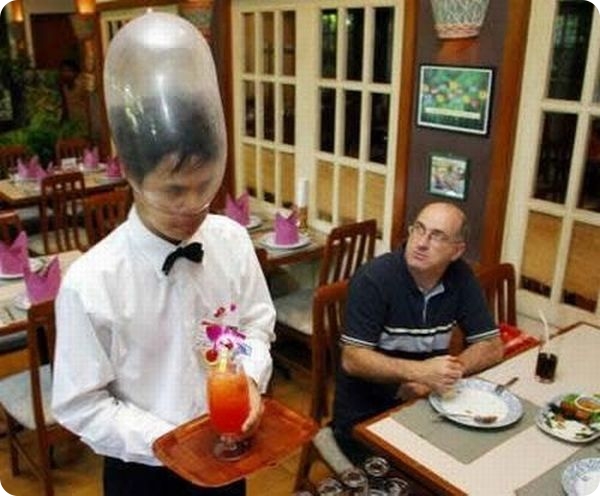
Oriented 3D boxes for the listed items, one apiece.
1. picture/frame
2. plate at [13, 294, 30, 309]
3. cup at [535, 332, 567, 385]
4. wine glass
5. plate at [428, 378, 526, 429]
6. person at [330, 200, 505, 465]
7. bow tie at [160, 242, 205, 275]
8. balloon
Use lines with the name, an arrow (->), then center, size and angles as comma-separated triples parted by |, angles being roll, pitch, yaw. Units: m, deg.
picture/frame -> 0.770, -0.743, 2.555 | 0.060, 0.327, 0.415 | -17, 25, -35
plate -> -1.315, 0.253, 2.407 | 0.044, 0.054, 0.119 | -3, 10, -38
cup -> 0.871, 0.396, 1.799 | 0.093, 0.180, 0.092 | 1, 20, 0
wine glass -> -0.154, 0.347, 1.118 | 0.123, 0.220, 0.095 | -1, 14, -9
plate -> 0.548, 0.490, 1.618 | 0.205, 0.108, 0.241 | -3, 17, -8
person -> 0.438, 0.312, 1.998 | 0.485, 1.116, 0.512 | 2, 15, 8
bow tie -> -0.292, 0.008, 1.272 | 0.092, 0.080, 0.083 | -10, 20, -29
balloon -> -0.251, -0.272, 0.944 | 0.201, 0.289, 0.150 | -10, 21, -20
